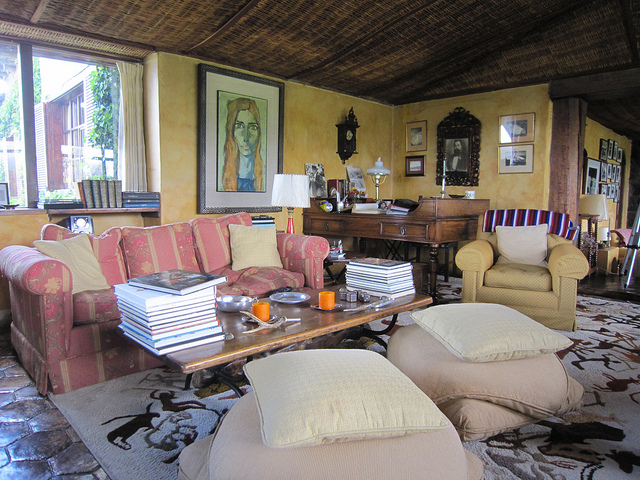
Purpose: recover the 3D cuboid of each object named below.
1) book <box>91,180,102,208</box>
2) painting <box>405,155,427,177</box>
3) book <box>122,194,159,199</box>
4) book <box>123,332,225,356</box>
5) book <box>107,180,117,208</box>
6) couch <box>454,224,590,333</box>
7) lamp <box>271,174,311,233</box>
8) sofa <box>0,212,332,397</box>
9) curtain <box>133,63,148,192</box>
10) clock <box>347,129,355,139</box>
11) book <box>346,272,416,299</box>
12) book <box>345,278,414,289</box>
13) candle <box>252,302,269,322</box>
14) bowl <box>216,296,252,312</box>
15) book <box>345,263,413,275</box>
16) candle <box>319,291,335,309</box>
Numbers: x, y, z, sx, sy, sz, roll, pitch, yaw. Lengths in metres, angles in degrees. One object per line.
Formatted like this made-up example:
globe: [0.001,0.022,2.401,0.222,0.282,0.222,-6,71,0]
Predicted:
book: [-2.109,-0.430,4.101,0.144,0.220,0.247,-5,5,-24]
painting: [1.416,-1.073,6.373,0.367,0.321,0.045,3,2,45]
book: [-1.756,-0.417,4.269,0.323,0.056,0.024,-6,16,-24]
book: [-0.711,0.518,2.192,0.310,0.037,0.277,-4,3,-38]
book: [-1.994,-0.432,4.163,0.157,0.247,0.269,0,2,-27]
couch: [1.927,0.343,4.316,1.378,1.132,1.121,1,-2,30]
lamp: [-0.306,-0.330,4.469,0.459,0.621,0.418,-1,7,-24]
sofa: [-1.066,0.431,2.848,0.633,0.520,1.311,3,5,39]
curtain: [-1.880,-1.104,4.501,0.108,1.339,0.224,-4,11,-32]
clock: [0.416,-1.410,5.869,0.124,0.122,0.031,-11,18,-38]
book: [0.391,0.311,3.003,0.242,0.089,0.285,-1,1,-40]
book: [0.401,0.299,2.975,0.452,0.034,0.162,2,12,9]
candle: [-0.334,0.407,2.460,0.101,0.097,0.101,0,-2,20]
bowl: [-0.522,0.384,2.669,0.136,0.047,0.114,3,-3,1]
book: [0.395,0.203,2.968,0.443,0.059,0.171,2,13,9]
candle: [0.042,0.376,2.672,0.102,0.090,0.097,-2,-2,6]
